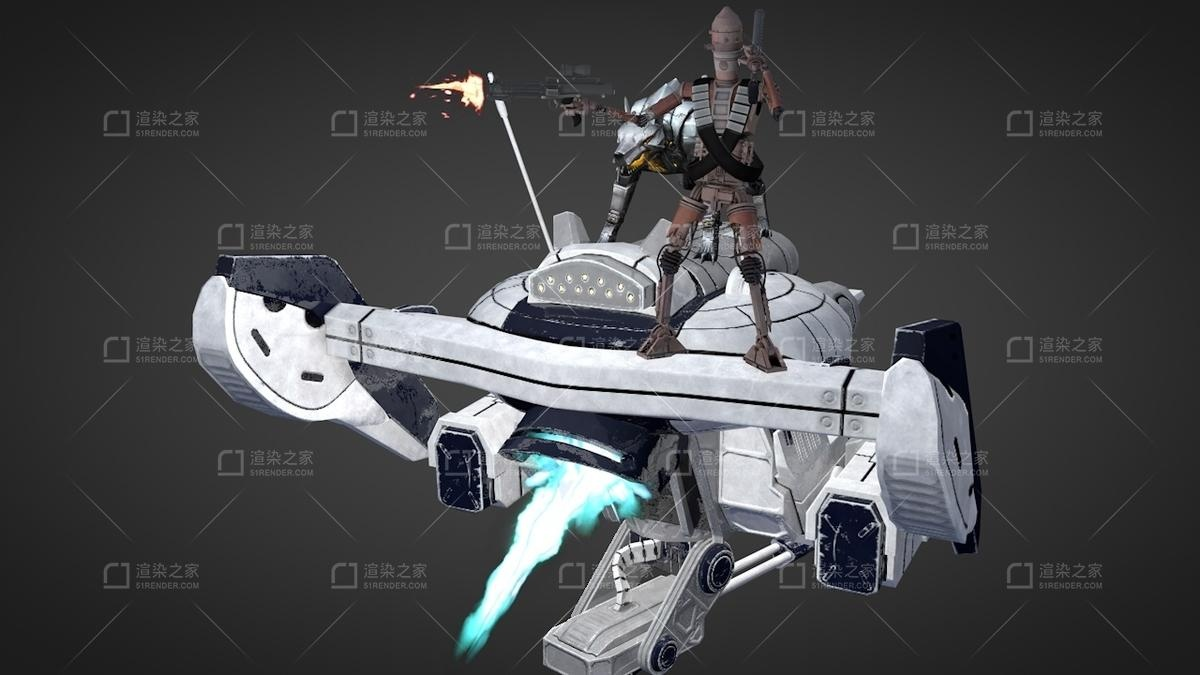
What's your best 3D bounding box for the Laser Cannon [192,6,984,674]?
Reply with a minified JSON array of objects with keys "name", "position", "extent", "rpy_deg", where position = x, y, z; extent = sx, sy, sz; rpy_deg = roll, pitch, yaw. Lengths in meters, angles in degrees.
[{"name":"Laser Cannon","position":[0.760,-0.009,8.373],"extent":[6.152,4.304,4.524],"rpy_deg":[7,21,31]}]
